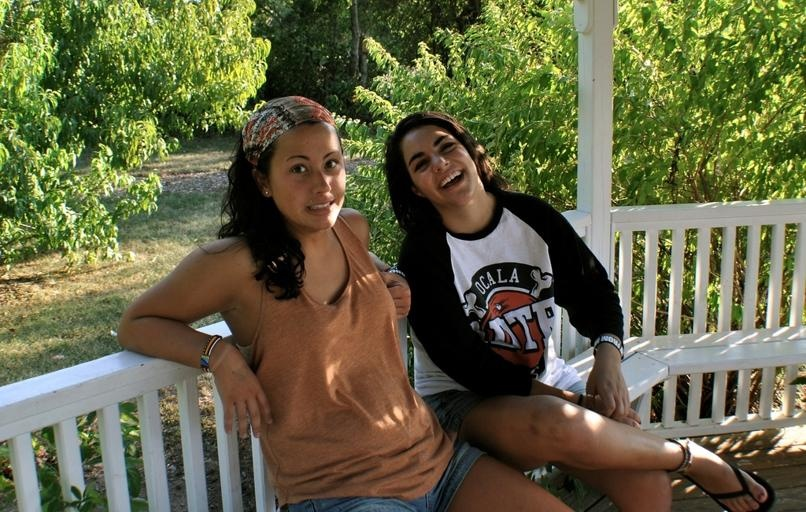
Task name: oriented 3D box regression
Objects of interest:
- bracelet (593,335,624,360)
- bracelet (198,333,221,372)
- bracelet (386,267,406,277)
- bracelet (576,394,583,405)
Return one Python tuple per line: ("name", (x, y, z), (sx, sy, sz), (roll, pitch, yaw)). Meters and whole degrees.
("bracelet", (1.070, 0.490, 3.523), (0.121, 0.036, 0.128), (22, 20, 0))
("bracelet", (-0.813, 0.416, 2.900), (0.102, 0.141, 0.056), (-9, 7, -18))
("bracelet", (-0.026, 0.078, 3.379), (0.070, 0.036, 0.051), (28, 1, -9))
("bracelet", (0.907, 0.727, 3.455), (0.035, 0.030, 0.037), (1, -3, 21))
